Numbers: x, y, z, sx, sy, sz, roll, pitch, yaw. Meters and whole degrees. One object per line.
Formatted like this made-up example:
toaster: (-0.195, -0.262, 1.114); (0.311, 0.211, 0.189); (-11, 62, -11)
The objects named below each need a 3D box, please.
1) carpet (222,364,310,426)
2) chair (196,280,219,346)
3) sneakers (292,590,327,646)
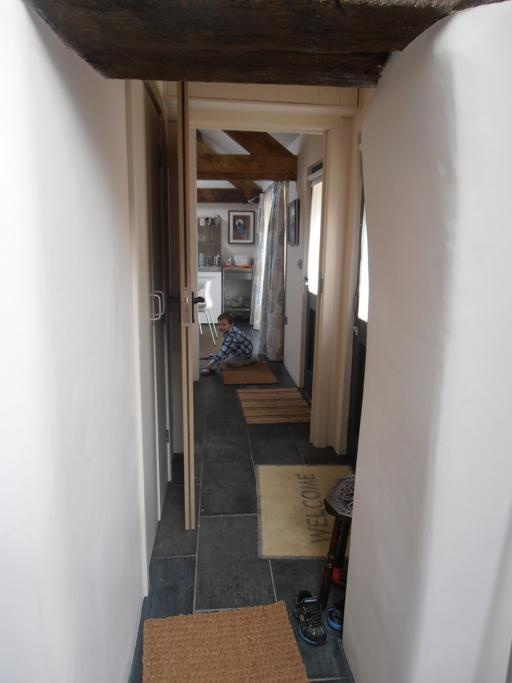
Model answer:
carpet: (0.074, 0.436, 4.639); (0.619, 0.031, 1.707); (-2, 11, -12)
chair: (-0.801, -0.609, 8.240); (0.389, 0.753, 0.444); (9, 8, -7)
sneakers: (0.184, 0.949, 1.815); (0.075, 0.102, 0.236); (1, -8, -2)
